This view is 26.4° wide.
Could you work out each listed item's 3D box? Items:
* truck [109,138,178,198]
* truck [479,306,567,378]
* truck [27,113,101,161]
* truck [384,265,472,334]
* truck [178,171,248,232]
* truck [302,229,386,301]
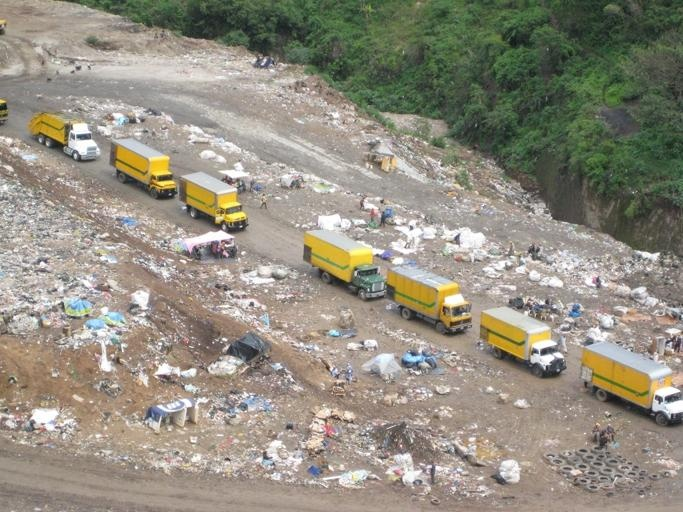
[{"bbox_3d":[-17.610,-7.625,128.821,6.585,3.753,1.590,28,27,21],"label":"truck"},{"bbox_3d":[13.880,6.783,112.605,6.847,3.715,1.545,29,27,22],"label":"truck"},{"bbox_3d":[-25.284,-10.811,131.993,6.609,3.146,1.485,26,26,16],"label":"truck"},{"bbox_3d":[6.944,3.595,116.961,2.914,3.724,7.389,-14,24,-36],"label":"truck"},{"bbox_3d":[-11.191,-4.494,125.473,6.473,3.895,1.992,30,28,24],"label":"truck"},{"bbox_3d":[0.152,0.821,120.333,2.950,3.816,8.504,-11,23,-33],"label":"truck"}]
